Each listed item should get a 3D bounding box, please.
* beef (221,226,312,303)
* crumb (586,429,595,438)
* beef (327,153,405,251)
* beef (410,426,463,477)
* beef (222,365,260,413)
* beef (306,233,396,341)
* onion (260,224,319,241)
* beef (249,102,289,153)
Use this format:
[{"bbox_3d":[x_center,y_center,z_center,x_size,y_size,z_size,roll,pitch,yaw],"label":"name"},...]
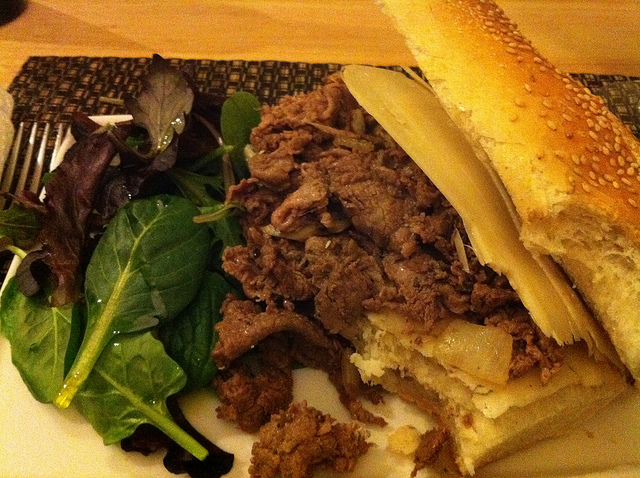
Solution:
[{"bbox_3d":[-0.228,0.117,3.016,0.458,0.371,0.370,4,21,15],"label":"beef"},{"bbox_3d":[1.366,0.984,2.877,0.022,0.007,0.033,-32,50,-20],"label":"crumb"},{"bbox_3d":[0.233,-0.213,2.869,0.370,0.119,0.443,-13,69,-17],"label":"beef"},{"bbox_3d":[0.568,1.026,2.741,0.254,0.078,0.226,-14,46,-19],"label":"beef"},{"bbox_3d":[-0.378,0.712,2.772,0.144,0.170,0.176,-9,17,-30],"label":"beef"},{"bbox_3d":[0.124,0.208,2.857,0.454,0.464,0.123,38,0,-4],"label":"beef"},{"bbox_3d":[-0.145,-0.029,2.841,0.192,0.110,0.049,-1,69,13],"label":"onion"},{"bbox_3d":[-0.272,-0.610,3.010,0.103,0.193,0.245,31,33,-48],"label":"beef"}]
